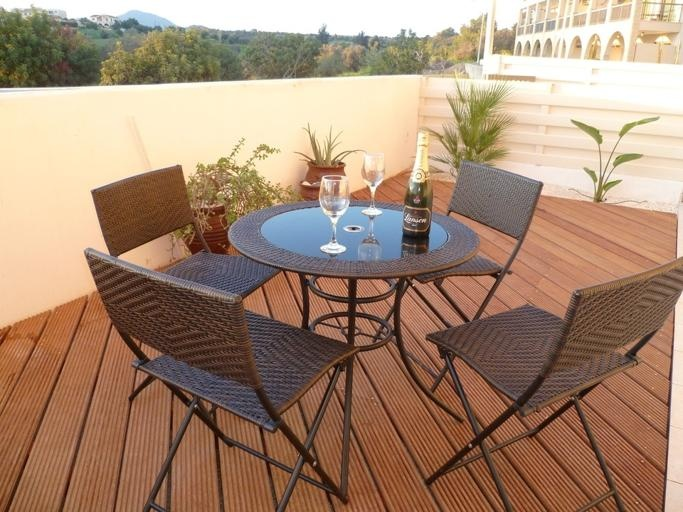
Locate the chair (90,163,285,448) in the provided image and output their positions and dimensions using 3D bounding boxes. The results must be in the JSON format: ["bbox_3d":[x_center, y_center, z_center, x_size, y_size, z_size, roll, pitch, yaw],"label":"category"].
[{"bbox_3d":[-0.711,0.112,2.210,0.750,0.891,0.699,27,31,27],"label":"chair"}]

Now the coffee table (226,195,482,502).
[{"bbox_3d":[0.024,0.335,2.023,1.000,0.722,0.991,8,25,16],"label":"coffee table"}]

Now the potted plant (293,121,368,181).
[{"bbox_3d":[-0.117,-1.021,4.610,0.655,0.629,0.658,17,25,36],"label":"potted plant"}]

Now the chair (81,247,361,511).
[{"bbox_3d":[-0.337,0.396,1.536,0.748,0.975,0.510,1,27,6],"label":"chair"}]
